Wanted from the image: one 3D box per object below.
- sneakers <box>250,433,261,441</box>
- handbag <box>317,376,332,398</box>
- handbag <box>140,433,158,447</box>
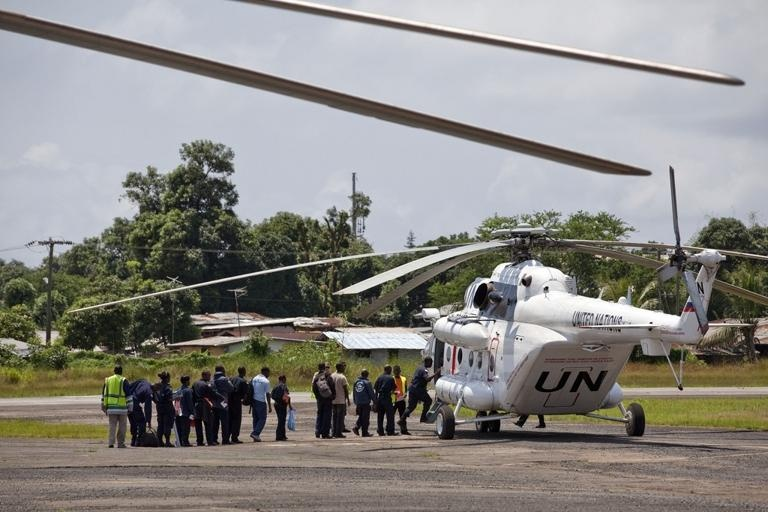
[{"bbox_3d":[-5.205,7.330,49.086,0.210,0.179,0.494,-8,-44,32],"label":"sneakers"},{"bbox_3d":[-2.432,5.290,49.433,0.592,0.789,0.443,-33,-9,20],"label":"handbag"},{"bbox_3d":[-9.280,7.243,48.085,0.547,0.575,0.611,5,-14,-1],"label":"handbag"}]
